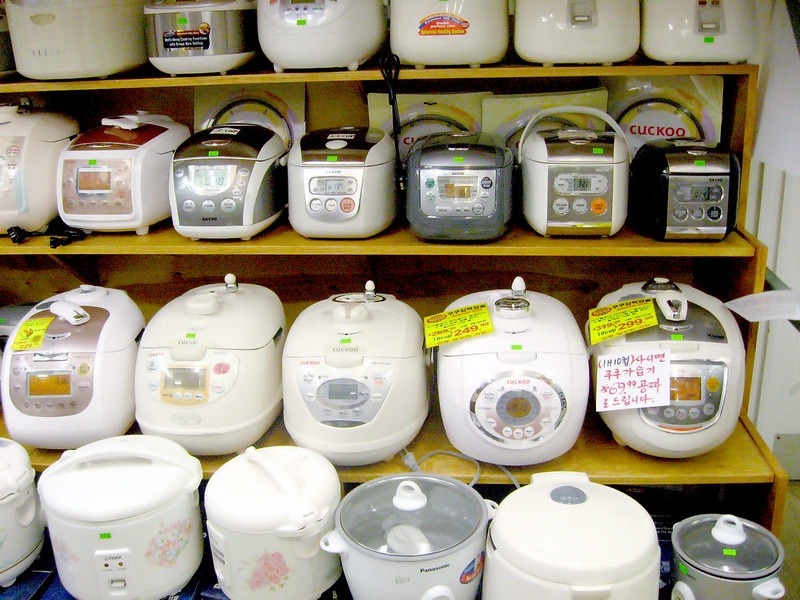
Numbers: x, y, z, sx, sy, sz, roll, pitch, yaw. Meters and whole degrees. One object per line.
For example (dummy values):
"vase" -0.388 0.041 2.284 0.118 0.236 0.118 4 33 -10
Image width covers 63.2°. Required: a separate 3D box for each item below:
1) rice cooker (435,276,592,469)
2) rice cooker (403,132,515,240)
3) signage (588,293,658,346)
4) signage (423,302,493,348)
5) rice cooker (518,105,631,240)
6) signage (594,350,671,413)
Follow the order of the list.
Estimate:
"rice cooker" 0.294 0.176 1.874 0.380 0.374 0.490 -1 24 4
"rice cooker" 0.168 -0.311 1.822 0.292 0.250 0.290 -1 19 2
"signage" 0.625 0.052 1.827 0.163 0.023 0.125 -18 50 20
"signage" 0.158 0.071 1.823 0.165 0.023 0.116 -15 38 14
"rice cooker" 0.500 -0.377 1.903 0.302 0.378 0.212 -1 14 9
"signage" 0.640 0.223 1.771 0.168 0.121 0.009 -8 -15 30
